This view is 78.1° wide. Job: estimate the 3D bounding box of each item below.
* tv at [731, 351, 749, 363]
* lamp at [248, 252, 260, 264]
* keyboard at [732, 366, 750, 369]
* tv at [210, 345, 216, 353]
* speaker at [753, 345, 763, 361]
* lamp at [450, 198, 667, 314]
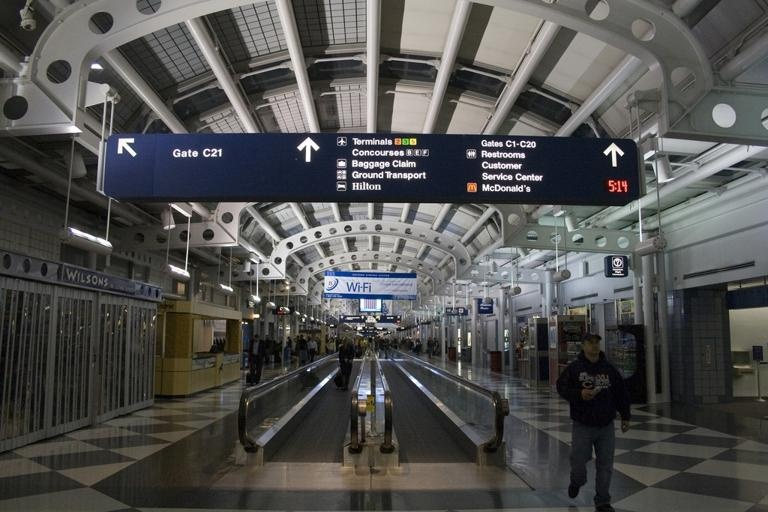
[{"bbox_3d":[11.808,3.372,15.727,0.512,0.330,0.269,2,-5,-3],"label":"tv"},{"bbox_3d":[-6.202,0.103,22.940,0.613,0.181,0.681,41,-17,-10],"label":"lamp"},{"bbox_3d":[11.718,3.683,15.577,0.247,0.055,0.225,1,-5,6],"label":"keyboard"},{"bbox_3d":[-6.957,3.869,19.550,0.266,0.254,0.481,7,3,-7],"label":"tv"},{"bbox_3d":[12.304,3.234,15.608,0.374,0.529,0.194,0,-4,10],"label":"speaker"},{"bbox_3d":[5.861,-0.410,14.919,4.877,1.393,2.647,4,-15,-9],"label":"lamp"}]
